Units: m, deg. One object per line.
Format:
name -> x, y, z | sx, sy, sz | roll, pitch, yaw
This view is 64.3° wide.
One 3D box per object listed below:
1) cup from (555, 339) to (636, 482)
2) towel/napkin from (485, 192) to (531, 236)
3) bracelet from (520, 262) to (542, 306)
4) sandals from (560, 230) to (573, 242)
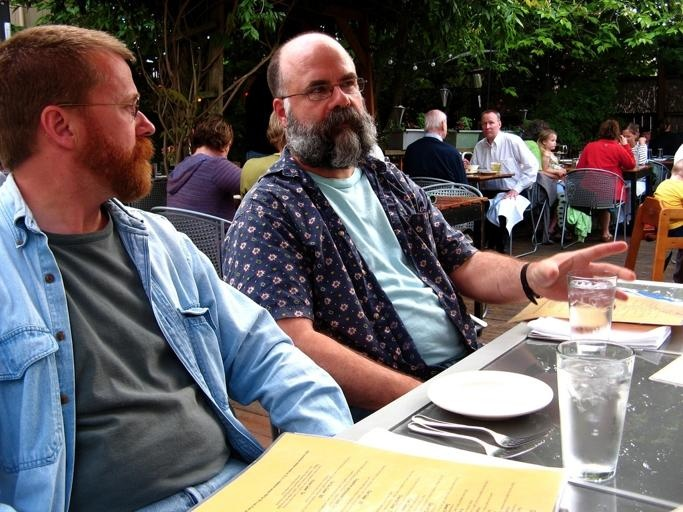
cup -> 0.399, 0.237, 0.862 | 0.110, 0.184, 0.238 | 2, 10, 24
towel/napkin -> 2.056, -0.509, 6.760 | 0.505, 0.318, 0.656 | 8, 56, 29
bracelet -> 0.570, 0.086, 1.666 | 0.025, 0.099, 0.103 | -18, 23, 8
sandals -> 3.231, -0.290, 7.727 | 0.155, 0.210, 0.476 | -2, -1, 24
